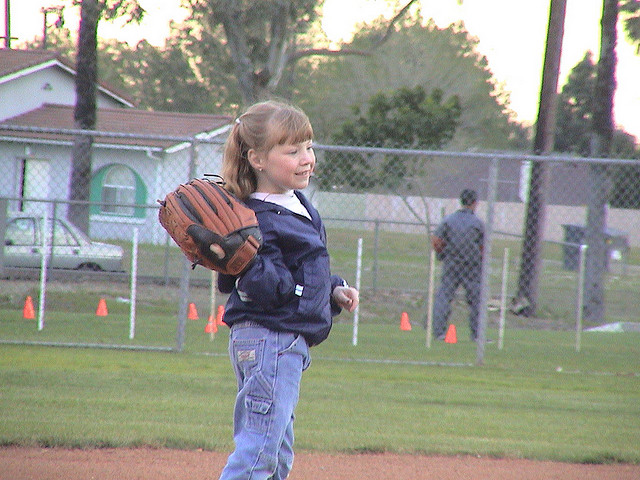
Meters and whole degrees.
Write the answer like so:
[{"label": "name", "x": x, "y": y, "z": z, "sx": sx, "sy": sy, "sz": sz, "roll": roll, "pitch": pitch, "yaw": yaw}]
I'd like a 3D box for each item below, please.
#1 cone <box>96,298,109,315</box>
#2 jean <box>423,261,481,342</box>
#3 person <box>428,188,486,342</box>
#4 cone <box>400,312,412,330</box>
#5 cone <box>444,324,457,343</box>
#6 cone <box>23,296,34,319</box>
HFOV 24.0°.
[{"label": "cone", "x": -4.010, "y": 1.174, "z": 27.655, "sx": 0.212, "sy": 0.279, "sz": 0.245, "roll": 1, "pitch": 2, "yaw": -3}, {"label": "jean", "x": 2.432, "y": 1.066, "z": 26.988, "sx": 0.633, "sy": 1.422, "sz": 1.230, "roll": 3, "pitch": -2, "yaw": -36}, {"label": "person", "x": 2.455, "y": 0.571, "z": 27.053, "sx": 0.981, "sy": 2.958, "sz": 0.903, "roll": 7, "pitch": -21, "yaw": 0}, {"label": "cone", "x": 1.597, "y": 1.478, "z": 28.423, "sx": 0.226, "sy": 0.316, "sz": 0.332, "roll": 2, "pitch": -2, "yaw": 4}, {"label": "cone", "x": 2.344, "y": 1.648, "z": 27.229, "sx": 0.167, "sy": 0.321, "sz": 0.110, "roll": 4, "pitch": -1, "yaw": 4}, {"label": "cone", "x": -5.202, "y": 1.158, "z": 26.874, "sx": 0.187, "sy": 0.396, "sz": 0.387, "roll": 2, "pitch": -2, "yaw": -12}]
